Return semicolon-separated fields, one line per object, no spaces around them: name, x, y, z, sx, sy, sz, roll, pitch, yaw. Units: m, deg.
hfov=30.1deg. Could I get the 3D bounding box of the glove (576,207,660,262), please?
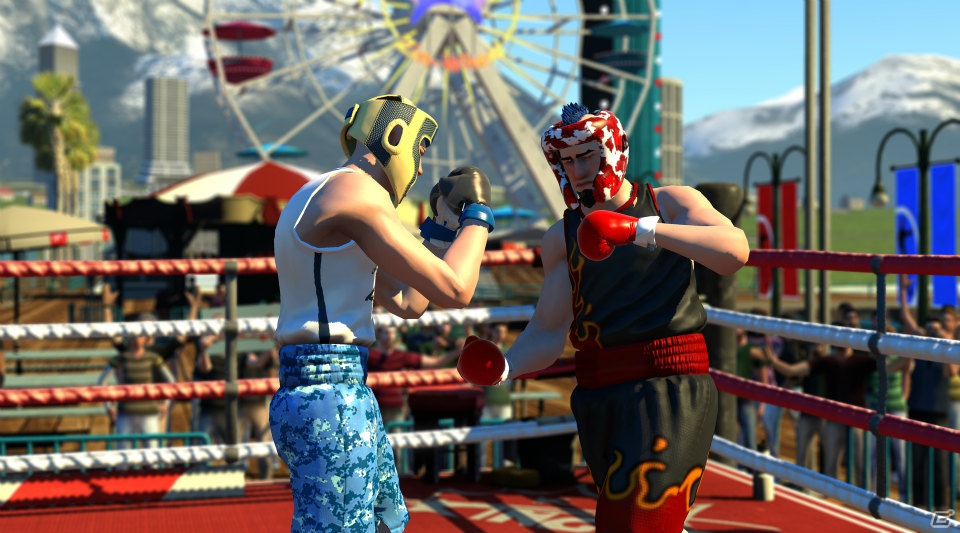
glove;1.760;-0.408;22.943;0.842;0.402;0.641;-4;-29;-2
